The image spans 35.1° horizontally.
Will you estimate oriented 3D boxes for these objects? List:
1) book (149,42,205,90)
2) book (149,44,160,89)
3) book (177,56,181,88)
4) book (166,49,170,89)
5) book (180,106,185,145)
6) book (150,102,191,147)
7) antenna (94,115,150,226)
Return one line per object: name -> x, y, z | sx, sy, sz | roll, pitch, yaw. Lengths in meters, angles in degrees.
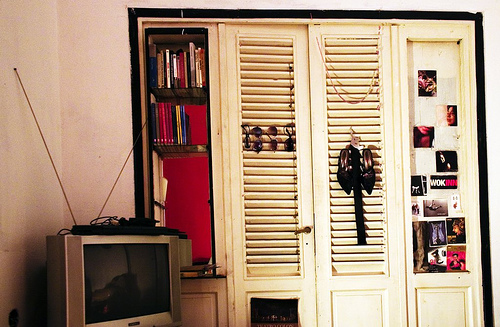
book -> -0.604, -0.750, 6.756 | 0.580, 0.521, 0.335 | 0, -3, -6
book -> -0.802, -0.790, 6.590 | 0.125, 0.341, 0.360 | 0, -1, -6
book -> -0.595, -0.758, 6.594 | 0.027, 0.263, 0.018 | -1, -2, -5
book -> -0.685, -0.781, 6.588 | 0.033, 0.317, 0.019 | 0, -2, -21
book -> -0.564, -0.315, 6.571 | 0.035, 0.312, 0.015 | 0, -2, -14
book -> -0.664, -0.322, 6.584 | 0.322, 0.353, 0.052 | -1, -2, -2
antenna -> -1.082, 0.099, 6.579 | 0.016, 1.036, 0.039 | 32, -8, -9
